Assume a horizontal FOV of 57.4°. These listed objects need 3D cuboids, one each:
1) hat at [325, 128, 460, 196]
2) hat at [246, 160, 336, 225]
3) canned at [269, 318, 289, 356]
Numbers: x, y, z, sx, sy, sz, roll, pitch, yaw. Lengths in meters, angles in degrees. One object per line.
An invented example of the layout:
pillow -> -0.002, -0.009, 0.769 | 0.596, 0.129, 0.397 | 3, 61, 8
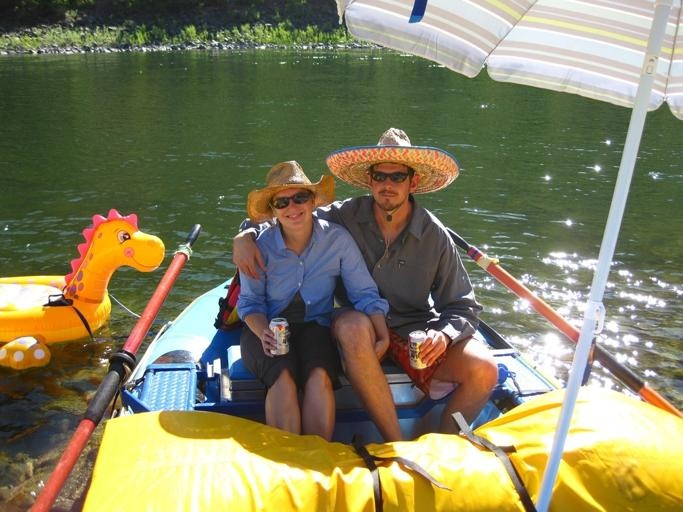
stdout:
hat -> 0.402, -0.705, 4.790 | 0.770, 0.228, 0.677 | 6, -22, 5
hat -> -0.392, -0.527, 4.611 | 0.627, 0.242, 0.679 | -5, -19, 11
canned -> -0.426, 0.537, 4.137 | 0.136, 0.203, 0.127 | -4, 10, -21
